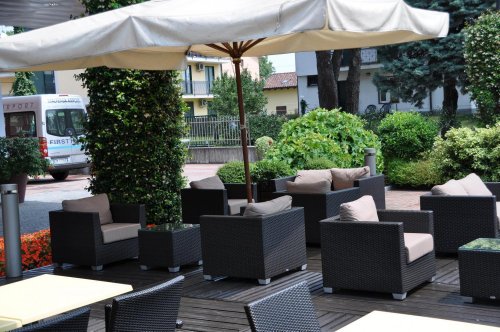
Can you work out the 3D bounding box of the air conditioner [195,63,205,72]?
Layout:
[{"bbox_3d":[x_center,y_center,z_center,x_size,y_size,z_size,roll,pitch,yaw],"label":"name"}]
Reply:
[{"bbox_3d":[-4.645,-9.151,43.910,0.697,0.934,0.832,0,1,43],"label":"air conditioner"}]

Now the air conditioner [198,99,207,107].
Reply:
[{"bbox_3d":[-4.366,-5.834,44.125,0.563,0.833,1.012,-1,2,15],"label":"air conditioner"}]
